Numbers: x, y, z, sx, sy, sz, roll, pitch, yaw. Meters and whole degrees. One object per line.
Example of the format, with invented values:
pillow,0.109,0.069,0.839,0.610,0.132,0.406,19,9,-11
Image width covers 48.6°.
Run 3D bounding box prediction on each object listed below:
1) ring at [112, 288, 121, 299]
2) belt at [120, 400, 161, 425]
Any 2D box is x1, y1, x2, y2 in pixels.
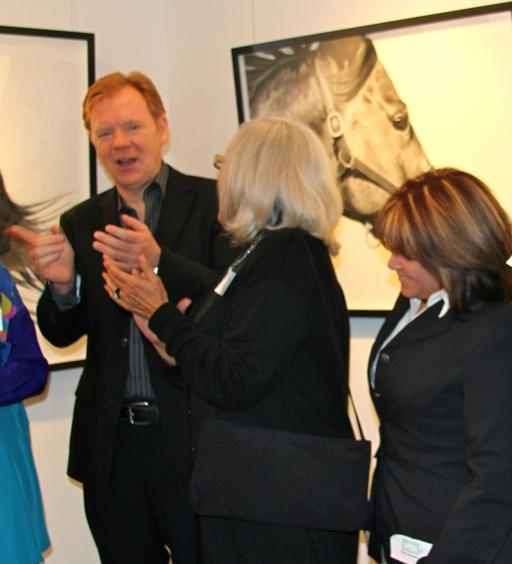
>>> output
ring,-0.341,0.029,1.386,0.018,0.029,0.006,-7,-9,21
belt,-0.345,0.391,1.675,0.086,0.078,0.052,-1,37,10
